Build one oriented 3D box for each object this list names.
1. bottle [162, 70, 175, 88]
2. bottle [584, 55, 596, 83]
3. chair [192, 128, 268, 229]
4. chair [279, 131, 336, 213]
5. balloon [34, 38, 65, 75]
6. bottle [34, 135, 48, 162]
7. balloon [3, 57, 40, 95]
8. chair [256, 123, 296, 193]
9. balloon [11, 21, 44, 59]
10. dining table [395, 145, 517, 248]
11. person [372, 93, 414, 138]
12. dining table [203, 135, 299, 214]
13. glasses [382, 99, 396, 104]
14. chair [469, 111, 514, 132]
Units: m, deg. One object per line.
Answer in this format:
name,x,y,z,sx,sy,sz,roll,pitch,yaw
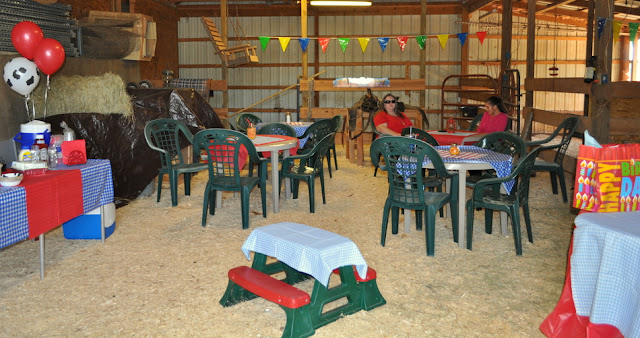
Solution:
bottle,-3.857,-2.254,11.631,0.211,0.386,0.449,-4,14,-21
bottle,4.936,-1.791,8.346,0.183,0.489,0.380,7,14,26
chair,-1.465,0.016,7.653,1.146,1.495,1.616,-1,13,-7
chair,-0.261,0.073,8.205,1.090,1.371,1.019,10,21,28
balloon,-4.365,-1.778,7.384,0.513,0.594,0.524,0,0,-40
bottle,-3.923,-0.288,6.466,0.158,0.422,0.153,8,30,-5
balloon,-4.639,-1.441,7.238,0.490,0.600,0.478,-16,10,-34
chair,-0.837,-0.351,9.035,1.101,1.414,1.075,0,4,-8
balloon,-4.637,-2.019,7.225,0.472,0.569,0.485,17,32,42
dining table,2.101,0.362,6.790,1.569,1.105,1.465,-4,6,-34
person,1.546,-1.019,9.175,1.005,0.948,0.881,-2,-2,-4
dining table,-0.781,0.063,7.873,0.995,1.038,1.011,-10,14,11
glasses,1.380,-1.331,9.121,0.235,0.085,0.157,2,13,7
chair,3.366,-0.842,8.924,0.329,0.498,0.536,-9,21,-27
